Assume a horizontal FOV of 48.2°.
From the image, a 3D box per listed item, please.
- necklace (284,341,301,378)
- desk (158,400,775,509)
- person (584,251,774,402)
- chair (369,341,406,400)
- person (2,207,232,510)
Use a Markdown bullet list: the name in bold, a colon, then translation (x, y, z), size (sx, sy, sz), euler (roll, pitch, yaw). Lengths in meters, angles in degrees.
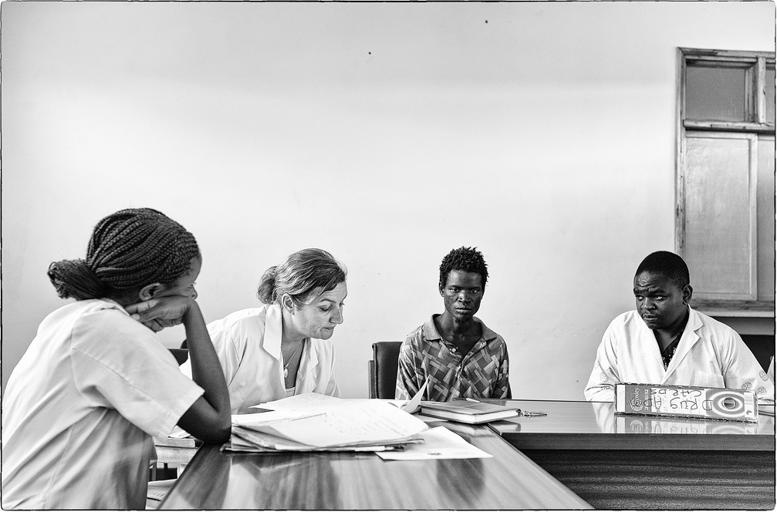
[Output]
- **necklace**: translation (-0.464, 0.511, 4.279), size (0.098, 0.160, 0.037), euler (12, 1, 9)
- **desk**: translation (0.483, 0.837, 3.556), size (2.536, 0.436, 0.668), euler (2, -13, -10)
- **person**: translation (1.538, 0.439, 4.906), size (1.183, 1.014, 0.787), euler (-4, -9, 40)
- **chair**: translation (-0.014, 0.607, 4.663), size (0.171, 0.316, 0.167), euler (0, -13, -2)
- **person**: translation (-1.102, 0.431, 3.592), size (0.841, 1.203, 0.378), euler (6, -14, -26)
